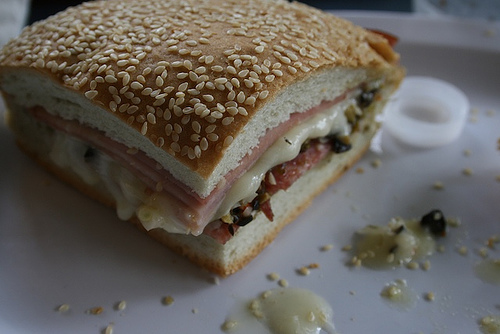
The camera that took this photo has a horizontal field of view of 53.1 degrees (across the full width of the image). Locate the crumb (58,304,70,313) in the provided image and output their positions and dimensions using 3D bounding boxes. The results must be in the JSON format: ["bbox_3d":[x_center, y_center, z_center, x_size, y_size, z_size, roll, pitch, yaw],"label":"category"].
[{"bbox_3d":[-1.073,0.816,2.881,0.033,0.018,0.049,24,44,21],"label":"crumb"}]

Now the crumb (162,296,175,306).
[{"bbox_3d":[-0.481,0.787,2.935,0.071,0.014,0.055,-4,57,-8],"label":"crumb"}]

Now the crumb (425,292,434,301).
[{"bbox_3d":[1.050,0.760,2.926,0.038,0.013,0.042,-21,51,12],"label":"crumb"}]

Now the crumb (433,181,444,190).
[{"bbox_3d":[1.268,0.124,3.358,0.070,0.016,0.070,19,57,8],"label":"crumb"}]

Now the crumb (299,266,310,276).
[{"bbox_3d":[0.335,0.634,3.048,0.059,0.013,0.065,1,56,-5],"label":"crumb"}]

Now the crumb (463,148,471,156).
[{"bbox_3d":[1.517,-0.103,3.492,0.036,0.013,0.043,-6,53,3],"label":"crumb"}]

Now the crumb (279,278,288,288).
[{"bbox_3d":[0.201,0.701,3.007,0.040,0.011,0.058,-30,64,-22],"label":"crumb"}]

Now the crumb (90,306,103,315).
[{"bbox_3d":[-0.886,0.829,2.884,0.047,0.016,0.039,6,32,16],"label":"crumb"}]

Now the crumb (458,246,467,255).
[{"bbox_3d":[1.311,0.515,3.078,0.033,0.017,0.048,3,46,27],"label":"crumb"}]

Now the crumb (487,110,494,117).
[{"bbox_3d":[1.761,-0.393,3.657,0.043,0.019,0.060,13,56,4],"label":"crumb"}]

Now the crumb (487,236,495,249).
[{"bbox_3d":[1.499,0.471,3.098,0.036,0.015,0.068,2,67,17],"label":"crumb"}]

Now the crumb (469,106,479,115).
[{"bbox_3d":[1.655,-0.416,3.688,0.053,0.019,0.059,-5,66,0],"label":"crumb"}]

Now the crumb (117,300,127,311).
[{"bbox_3d":[-0.746,0.809,2.912,0.055,0.011,0.056,-2,56,-6],"label":"crumb"}]

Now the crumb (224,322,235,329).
[{"bbox_3d":[-0.127,0.907,2.855,0.042,0.009,0.029,-26,51,-17],"label":"crumb"}]

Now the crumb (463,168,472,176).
[{"bbox_3d":[1.480,0.033,3.402,0.041,0.011,0.046,-2,59,9],"label":"crumb"}]

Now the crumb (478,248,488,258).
[{"bbox_3d":[1.432,0.527,3.069,0.057,0.013,0.066,18,57,7],"label":"crumb"}]
